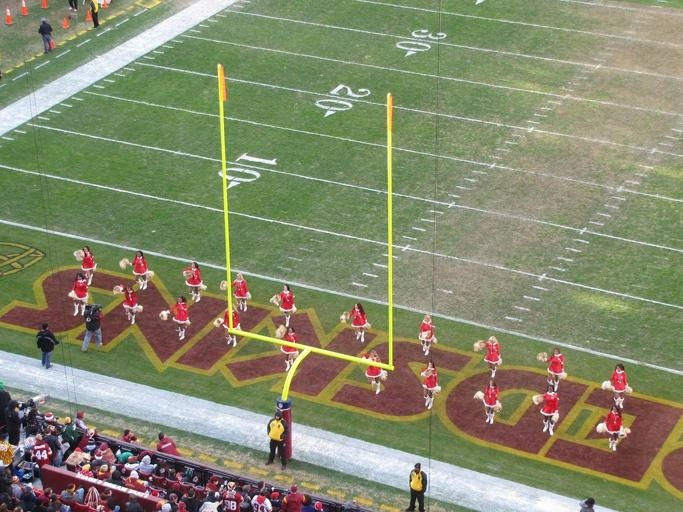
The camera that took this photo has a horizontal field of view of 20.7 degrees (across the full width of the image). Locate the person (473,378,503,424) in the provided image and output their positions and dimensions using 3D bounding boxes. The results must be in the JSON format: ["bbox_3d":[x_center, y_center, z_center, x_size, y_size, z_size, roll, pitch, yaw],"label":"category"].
[{"bbox_3d":[3.382,3.223,42.893,0.684,1.050,0.834,7,24,4],"label":"person"}]

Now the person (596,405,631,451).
[{"bbox_3d":[6.174,3.822,42.150,0.792,1.057,0.722,7,25,6],"label":"person"}]

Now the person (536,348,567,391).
[{"bbox_3d":[4.929,2.554,43.553,0.747,0.978,1.211,7,23,6],"label":"person"}]

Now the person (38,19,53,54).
[{"bbox_3d":[-8.902,-6.570,56.248,0.423,1.047,0.684,1,25,-9],"label":"person"}]

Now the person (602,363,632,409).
[{"bbox_3d":[6.378,2.903,43.017,0.706,1.090,0.997,9,24,8],"label":"person"}]

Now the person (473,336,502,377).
[{"bbox_3d":[3.454,2.259,43.967,0.719,0.969,0.959,6,24,4],"label":"person"}]
